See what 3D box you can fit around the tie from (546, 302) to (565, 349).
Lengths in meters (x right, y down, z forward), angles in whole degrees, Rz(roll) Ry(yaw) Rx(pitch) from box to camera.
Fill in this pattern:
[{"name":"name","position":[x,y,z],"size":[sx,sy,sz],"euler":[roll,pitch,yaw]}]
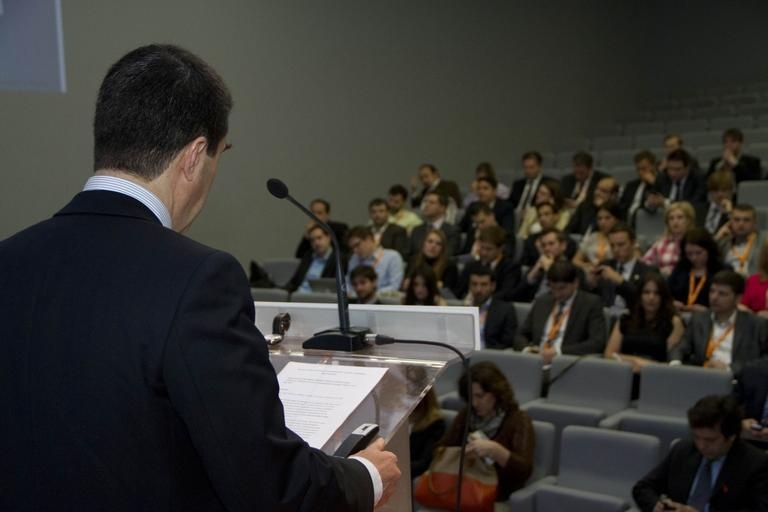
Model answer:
[{"name":"tie","position":[1.156,0.471,4.137],"size":[0.099,0.329,0.044],"euler":[-1,-24,43]}]

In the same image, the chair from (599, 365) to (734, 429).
[{"name":"chair","position":[1.573,0.704,3.254],"size":[0.407,0.332,0.423],"euler":[-3,-7,36]}]

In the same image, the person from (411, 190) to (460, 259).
[{"name":"person","position":[0.456,-0.276,6.047],"size":[0.441,0.784,0.533],"euler":[-9,17,-41]}]

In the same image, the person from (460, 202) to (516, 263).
[{"name":"person","position":[0.932,-0.214,5.448],"size":[0.354,0.811,0.309],"euler":[-21,-26,41]}]

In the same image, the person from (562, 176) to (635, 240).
[{"name":"person","position":[1.846,-0.444,5.478],"size":[0.702,0.239,0.383],"euler":[-39,34,-10]}]

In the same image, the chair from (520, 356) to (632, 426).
[{"name":"chair","position":[1.113,0.709,3.470],"size":[0.387,0.425,0.430],"euler":[-3,-7,30]}]

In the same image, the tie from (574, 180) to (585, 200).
[{"name":"tie","position":[1.885,-0.652,5.923],"size":[0.035,0.133,0.093],"euler":[25,-10,-33]}]

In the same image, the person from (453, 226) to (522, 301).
[{"name":"person","position":[0.981,-0.010,5.874],"size":[0.515,1.131,0.384],"euler":[-6,21,7]}]
